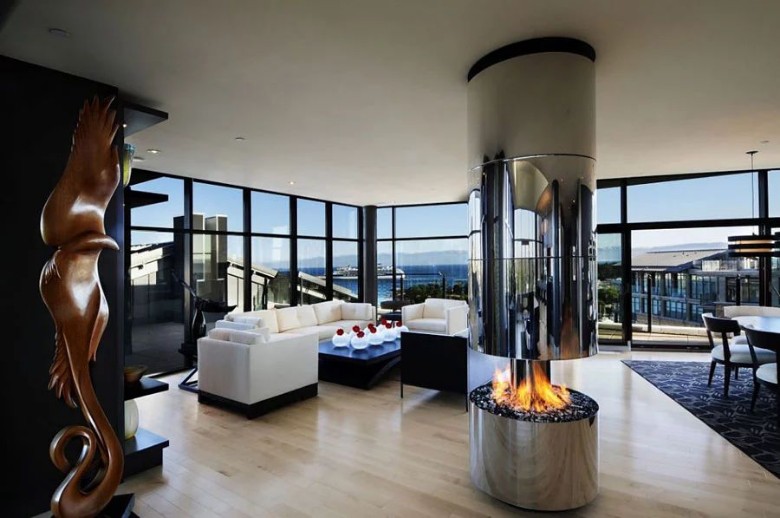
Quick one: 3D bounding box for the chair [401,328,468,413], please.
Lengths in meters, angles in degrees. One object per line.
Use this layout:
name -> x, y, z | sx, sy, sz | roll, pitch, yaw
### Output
chair -> 0.525, 1.714, 6.751 | 0.986, 0.910, 1.032 | 11, -41, -9

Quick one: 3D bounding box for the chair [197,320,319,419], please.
chair -> -1.815, 1.403, 6.683 | 1.048, 1.118, 1.236 | 1, 2, 31

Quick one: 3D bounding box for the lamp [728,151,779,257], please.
lamp -> 5.582, -0.863, 7.329 | 0.545, 1.521, 1.310 | 7, 12, 38

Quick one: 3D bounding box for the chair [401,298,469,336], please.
chair -> 0.915, 1.195, 9.525 | 1.109, 0.855, 0.815 | -1, -2, 33

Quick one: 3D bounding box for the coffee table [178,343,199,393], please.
coffee table -> -3.046, 1.572, 7.257 | 0.284, 0.670, 1.224 | -4, 11, -24
